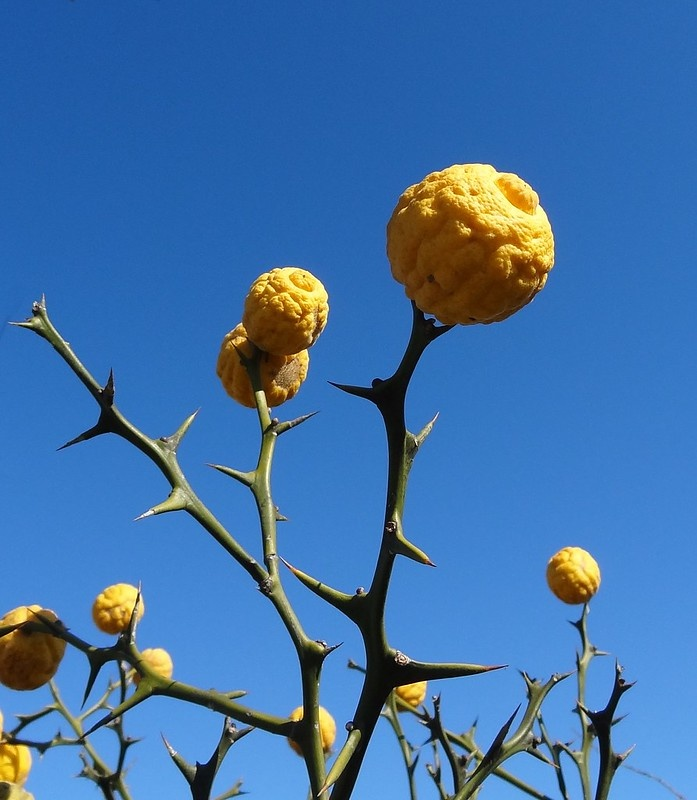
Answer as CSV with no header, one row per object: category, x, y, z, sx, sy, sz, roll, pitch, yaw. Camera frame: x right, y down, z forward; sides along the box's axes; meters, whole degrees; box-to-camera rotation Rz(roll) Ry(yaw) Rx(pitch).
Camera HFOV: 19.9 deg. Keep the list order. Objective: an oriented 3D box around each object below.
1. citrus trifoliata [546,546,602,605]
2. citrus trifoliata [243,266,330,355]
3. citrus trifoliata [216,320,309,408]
citrus trifoliata,1.206,0.937,10.803,0.249,0.283,0.344,-2,-66,31
citrus trifoliata,-0.260,-0.454,9.955,0.328,0.289,0.327,30,-88,1
citrus trifoliata,-0.433,-0.183,9.808,0.275,0.294,0.403,5,-78,-7
